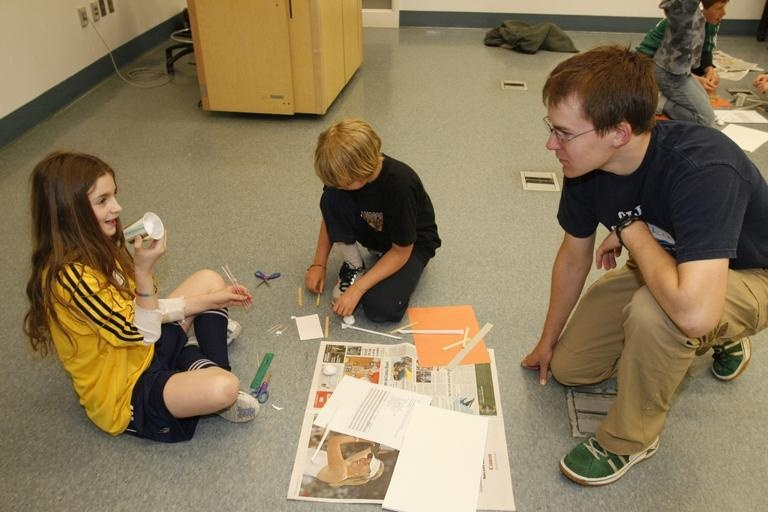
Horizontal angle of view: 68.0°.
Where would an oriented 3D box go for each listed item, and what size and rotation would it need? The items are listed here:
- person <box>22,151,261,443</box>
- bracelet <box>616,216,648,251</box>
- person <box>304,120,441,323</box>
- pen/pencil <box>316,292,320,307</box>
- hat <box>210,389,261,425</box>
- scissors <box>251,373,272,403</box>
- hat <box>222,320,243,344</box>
[{"bbox_3d":[-0.872,0.161,2.065,0.799,0.899,0.628,17,43,18],"label":"person"},{"bbox_3d":[0.851,-0.077,1.975,0.097,0.100,0.093,-4,4,4],"label":"bracelet"},{"bbox_3d":[-0.023,-0.141,2.457,0.544,0.739,0.484,3,41,3],"label":"person"},{"bbox_3d":[-0.303,0.197,2.615,0.010,0.005,0.064,8,38,5],"label":"pen/pencil"},{"bbox_3d":[-0.569,0.577,2.158,0.148,0.105,0.063,-1,4,4],"label":"hat"},{"bbox_3d":[-0.481,0.521,2.269,0.046,0.020,0.085,14,48,10],"label":"scissors"},{"bbox_3d":[-0.658,0.319,2.422,0.056,0.038,0.099,2,50,-3],"label":"hat"}]
